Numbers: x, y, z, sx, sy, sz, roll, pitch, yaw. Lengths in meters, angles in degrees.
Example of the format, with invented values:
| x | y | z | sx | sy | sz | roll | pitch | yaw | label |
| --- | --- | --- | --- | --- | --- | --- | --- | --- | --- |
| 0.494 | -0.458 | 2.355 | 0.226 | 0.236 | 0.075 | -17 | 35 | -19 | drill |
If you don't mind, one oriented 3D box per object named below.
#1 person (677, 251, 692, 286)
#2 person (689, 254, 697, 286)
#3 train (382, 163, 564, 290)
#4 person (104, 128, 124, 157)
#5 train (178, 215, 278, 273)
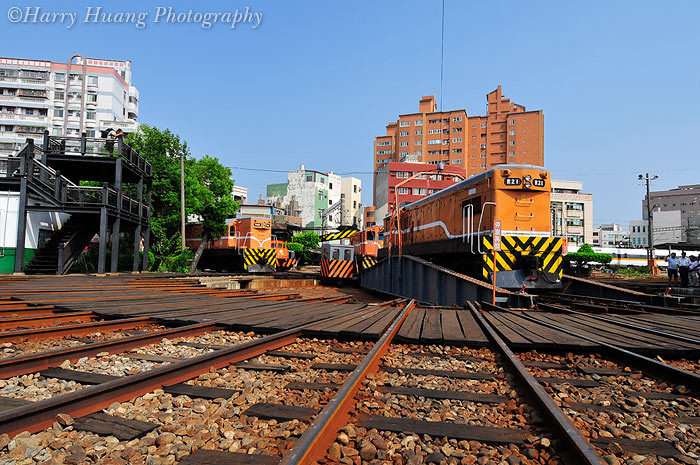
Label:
| x | y | z | sx | sy | sz | roll | pitch | yaw | label |
| --- | --- | --- | --- | --- | --- | --- | --- | --- | --- |
| 12.230 | 1.242 | 18.873 | 0.348 | 1.232 | 1.111 | 5 | 8 | 33 | person |
| 12.807 | 1.450 | 19.320 | 0.361 | 1.021 | 0.778 | 1 | -2 | 29 | person |
| 4.105 | 0.056 | 18.739 | 2.867 | 2.826 | 8.436 | 2 | -4 | -16 | train |
| -10.240 | -3.873 | 22.351 | 0.625 | 1.077 | 1.390 | -2 | 7 | -26 | person |
| -7.675 | 0.762 | 34.415 | 8.170 | 3.517 | 2.973 | 2 | 0 | 42 | train |
